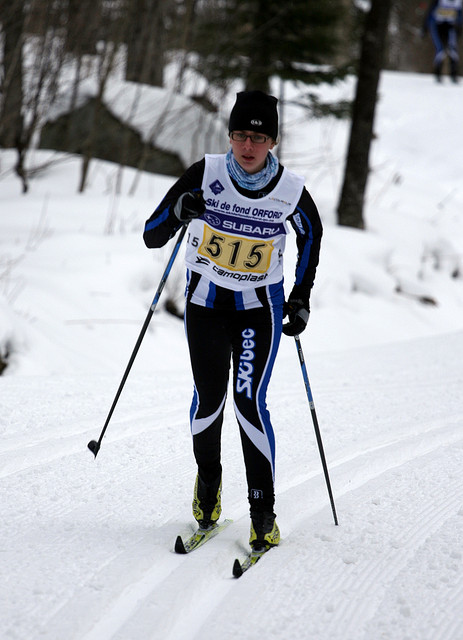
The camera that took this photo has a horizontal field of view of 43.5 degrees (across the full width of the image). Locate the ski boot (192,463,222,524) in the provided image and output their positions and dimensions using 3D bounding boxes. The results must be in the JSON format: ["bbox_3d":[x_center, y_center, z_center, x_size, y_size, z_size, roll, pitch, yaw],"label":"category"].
[{"bbox_3d":[-0.089,0.634,2.106,0.098,0.217,0.055,2,16,-5],"label":"ski boot"}]

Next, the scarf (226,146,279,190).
[{"bbox_3d":[0.069,-0.508,1.956,0.178,0.127,0.150,3,15,-3],"label":"scarf"}]

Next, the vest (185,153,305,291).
[{"bbox_3d":[0.043,-0.336,2.072,0.394,0.456,0.265,12,15,-2],"label":"vest"}]

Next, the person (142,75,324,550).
[{"bbox_3d":[-0.042,0.037,2.033,0.623,1.605,0.578,6,16,7],"label":"person"}]

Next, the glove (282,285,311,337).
[{"bbox_3d":[0.245,-0.034,2.201,0.095,0.189,0.263,6,16,7],"label":"glove"}]

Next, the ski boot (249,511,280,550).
[{"bbox_3d":[0.116,0.703,1.948,0.109,0.138,0.086,3,16,-3],"label":"ski boot"}]

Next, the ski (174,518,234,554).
[{"bbox_3d":[-0.102,0.763,2.082,0.134,0.067,0.234,-9,13,-31],"label":"ski"}]

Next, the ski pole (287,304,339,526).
[{"bbox_3d":[0.339,0.411,2.316,0.072,1.027,0.041,-27,24,-31],"label":"ski pole"}]
